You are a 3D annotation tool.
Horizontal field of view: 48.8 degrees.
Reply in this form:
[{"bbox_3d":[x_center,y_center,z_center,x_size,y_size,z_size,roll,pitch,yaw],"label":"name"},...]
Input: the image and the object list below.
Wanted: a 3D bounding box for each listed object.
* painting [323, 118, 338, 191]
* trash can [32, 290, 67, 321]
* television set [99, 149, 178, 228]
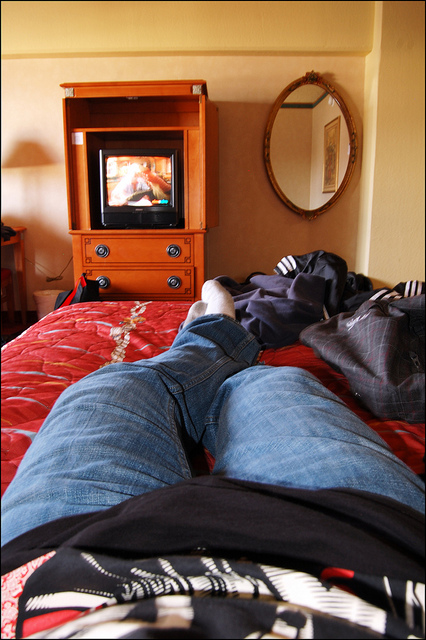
[{"bbox_3d":[0.739,-1.036,2.972,0.188,0.434,0.019,-30,38,-32],"label":"painting"},{"bbox_3d":[-1.058,-0.118,2.970,0.197,0.208,0.185,-6,11,-32],"label":"trash can"},{"bbox_3d":[-0.405,-0.716,2.707,0.433,0.430,0.322,-1,-2,-1],"label":"television set"}]
